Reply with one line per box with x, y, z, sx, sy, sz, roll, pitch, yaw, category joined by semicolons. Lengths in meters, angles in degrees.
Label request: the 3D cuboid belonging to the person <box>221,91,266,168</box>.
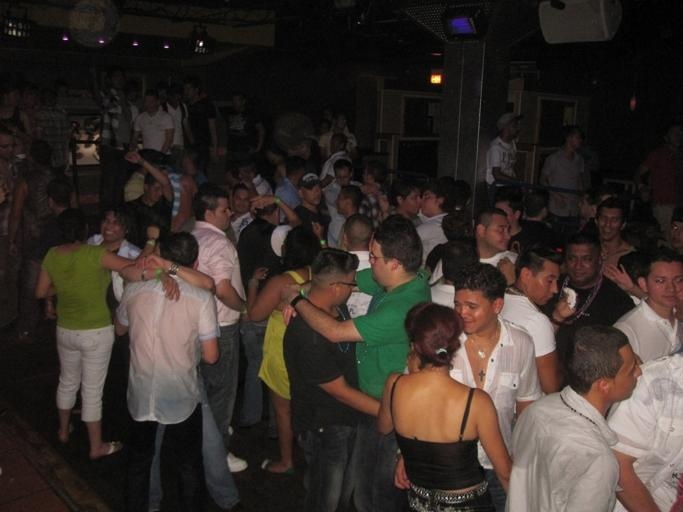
-1.599;-2.135;9.274;0.599;1.114;0.434;0;8;-12;person

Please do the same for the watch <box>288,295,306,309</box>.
-0.269;0.278;3.332;0.073;0.077;0.071;-6;-10;-28;watch

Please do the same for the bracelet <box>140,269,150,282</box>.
-1.270;0.114;3.585;0.058;0.057;0.053;-10;-9;40;bracelet

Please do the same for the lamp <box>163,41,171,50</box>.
-3.864;-4.675;12.280;0.138;0.135;0.129;-5;-2;-2;lamp

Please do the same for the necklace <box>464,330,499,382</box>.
0.795;0.568;3.157;0.180;0.318;0.078;0;-1;11;necklace

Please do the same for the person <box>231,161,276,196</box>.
-0.989;-0.906;6.362;0.329;0.386;0.708;1;8;-7;person

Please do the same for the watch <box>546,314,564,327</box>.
1.435;0.434;3.726;0.110;0.029;0.108;13;6;-35;watch

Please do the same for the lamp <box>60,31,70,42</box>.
-5.667;-4.513;11.385;0.136;0.148;0.140;-13;40;-12;lamp

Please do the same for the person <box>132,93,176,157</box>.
-2.716;-1.968;8.033;0.545;0.934;0.586;-1;8;-19;person

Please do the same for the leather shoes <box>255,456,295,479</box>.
-0.530;1.710;4.464;0.211;0.044;0.119;11;17;11;leather shoes

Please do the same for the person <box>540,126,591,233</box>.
3.031;-0.768;7.472;0.613;1.859;0.551;-11;24;-9;person

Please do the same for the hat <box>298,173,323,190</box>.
-0.324;-0.762;5.631;0.201;0.149;0.249;1;8;-5;hat

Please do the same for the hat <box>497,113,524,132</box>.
2.088;-1.681;6.931;0.265;0.230;0.293;4;8;15;hat

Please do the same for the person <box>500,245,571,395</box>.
1.202;0.421;3.437;0.357;1.006;0.434;-18;39;1;person

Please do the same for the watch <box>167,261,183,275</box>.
-1.095;0.079;3.655;0.070;0.072;0.069;27;-7;-8;watch
